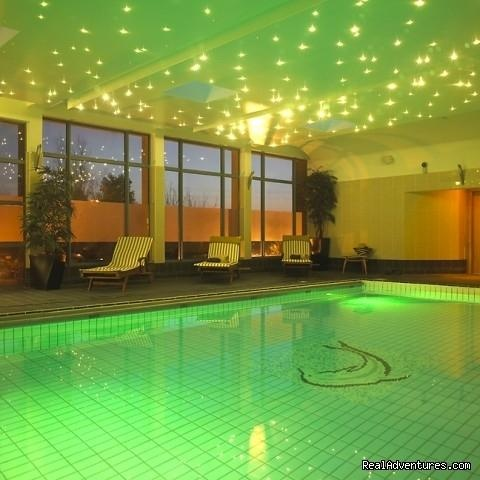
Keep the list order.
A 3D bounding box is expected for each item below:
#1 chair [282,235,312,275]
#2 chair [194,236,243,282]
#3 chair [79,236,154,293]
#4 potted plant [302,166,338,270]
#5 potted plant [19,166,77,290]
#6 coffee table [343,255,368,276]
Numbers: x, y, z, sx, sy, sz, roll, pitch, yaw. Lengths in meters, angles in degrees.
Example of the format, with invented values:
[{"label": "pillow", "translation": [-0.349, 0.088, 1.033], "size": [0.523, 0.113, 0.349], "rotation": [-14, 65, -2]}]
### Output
[{"label": "chair", "translation": [1.785, 0.382, 11.822], "size": [0.878, 1.260, 0.392], "rotation": [2, -25, 4]}, {"label": "chair", "translation": [-0.562, 0.506, 10.290], "size": [1.063, 1.009, 1.371], "rotation": [1, 8, 10]}, {"label": "chair", "translation": [-2.749, 0.538, 8.563], "size": [0.961, 1.046, 1.562], "rotation": [1, 6, 8]}, {"label": "potted plant", "translation": [2.945, -0.836, 13.897], "size": [0.889, 3.652, 1.192], "rotation": [-2, -1, 44]}, {"label": "potted plant", "translation": [-4.175, -0.269, 8.284], "size": [0.959, 2.657, 1.088], "rotation": [0, -1, -28]}, {"label": "coffee table", "translation": [4.024, 0.900, 13.098], "size": [0.727, 0.551, 0.666], "rotation": [-1, -8, 11]}]
